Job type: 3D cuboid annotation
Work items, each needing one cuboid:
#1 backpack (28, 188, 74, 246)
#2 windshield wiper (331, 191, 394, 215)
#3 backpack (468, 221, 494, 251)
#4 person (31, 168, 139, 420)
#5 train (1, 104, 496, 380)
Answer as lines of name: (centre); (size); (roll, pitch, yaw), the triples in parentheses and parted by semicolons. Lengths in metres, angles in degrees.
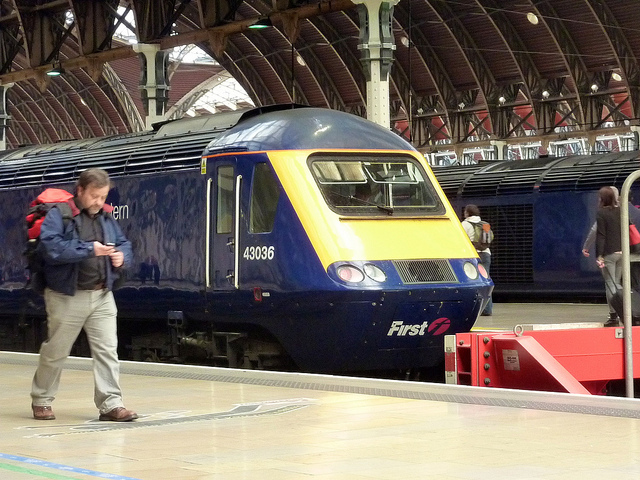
backpack: (-2.410, -0.197, 6.959); (0.348, 0.494, 0.434); (-2, 0, 25)
windshield wiper: (0.498, -0.446, 9.993); (0.611, 0.085, 0.062); (21, -52, -8)
backpack: (3.393, -0.073, 16.873); (0.489, 0.606, 0.422); (0, 1, -38)
person: (-2.086, 0.484, 6.913); (0.881, 2.169, 0.694); (-2, 0, -9)
train: (-2.536, 0.056, 14.510); (12.282, 3.868, 2.955); (0, 1, 45)
